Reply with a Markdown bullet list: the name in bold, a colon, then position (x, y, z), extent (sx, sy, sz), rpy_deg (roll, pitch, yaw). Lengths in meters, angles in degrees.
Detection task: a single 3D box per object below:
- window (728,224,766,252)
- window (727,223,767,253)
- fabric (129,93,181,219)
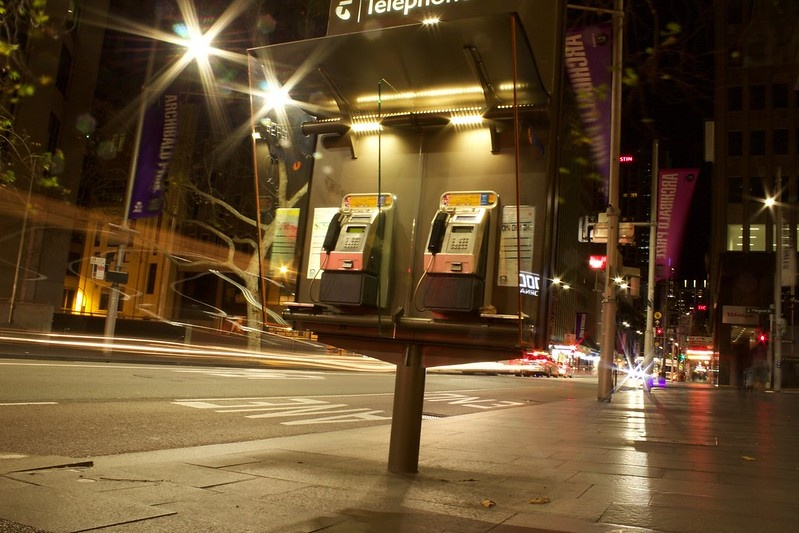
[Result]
- **window**: position (26.685, -2.166, 46.010), extent (2.051, 1.803, 0.724), rpy_deg (0, -14, 17)
- **window**: position (26.674, -2.162, 45.986), extent (2.210, 1.969, 0.259), rpy_deg (3, -19, 15)
- **fabric**: position (-9.532, -4.711, 23.647), extent (1.477, 6.235, 0.062), rpy_deg (3, -19, -9)
